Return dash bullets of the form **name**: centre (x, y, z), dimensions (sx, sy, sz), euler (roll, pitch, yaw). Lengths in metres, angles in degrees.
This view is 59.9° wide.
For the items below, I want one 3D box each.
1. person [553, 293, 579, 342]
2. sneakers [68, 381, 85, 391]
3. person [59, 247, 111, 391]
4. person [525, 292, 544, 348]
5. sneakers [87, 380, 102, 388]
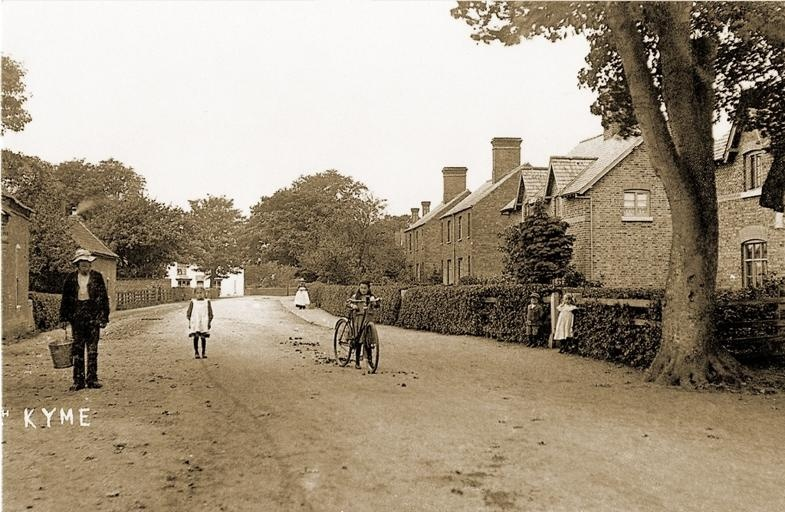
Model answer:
- **person**: centre (5.340, 1.933, 21.068), dimensions (0.438, 1.569, 0.831), euler (-2, 6, -23)
- **sneakers**: centre (-7.070, 2.909, 15.352), dimensions (0.452, 0.156, 0.295), euler (2, 5, 19)
- **person**: centre (-6.986, 1.422, 15.587), dimensions (1.008, 3.147, 1.016), euler (-2, 6, -27)
- **person**: centre (4.660, 2.058, 22.150), dimensions (0.534, 1.733, 0.482), euler (2, 5, 11)
- **sneakers**: centre (-6.715, 2.908, 15.449), dimensions (0.131, 0.287, 0.379), euler (9, -18, -39)
